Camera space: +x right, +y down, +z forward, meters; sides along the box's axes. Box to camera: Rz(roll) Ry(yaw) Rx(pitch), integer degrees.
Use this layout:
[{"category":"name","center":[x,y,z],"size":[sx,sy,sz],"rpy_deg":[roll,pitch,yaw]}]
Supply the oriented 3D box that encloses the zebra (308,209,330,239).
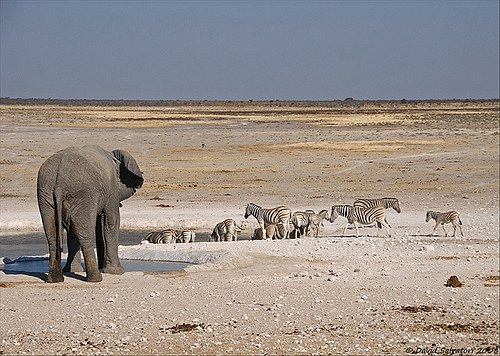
[{"category":"zebra","center":[2.208,1.511,29.589],"size":[0.625,0.821,0.958],"rpy_deg":[12,18,42]}]

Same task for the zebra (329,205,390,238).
[{"category":"zebra","center":[3.859,1.227,27.900],"size":[2.739,1.407,0.697],"rpy_deg":[0,1,18]}]

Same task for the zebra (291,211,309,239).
[{"category":"zebra","center":[1.635,1.514,29.204],"size":[0.536,0.923,0.830],"rpy_deg":[3,14,15]}]

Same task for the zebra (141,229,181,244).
[{"category":"zebra","center":[-2.826,1.865,28.840],"size":[1.150,0.489,0.458],"rpy_deg":[-3,-14,15]}]

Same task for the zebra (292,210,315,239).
[{"category":"zebra","center":[1.737,1.427,29.245],"size":[0.333,0.895,1.414],"rpy_deg":[-6,-7,37]}]

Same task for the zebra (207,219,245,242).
[{"category":"zebra","center":[-0.820,1.769,28.923],"size":[1.508,0.723,0.447],"rpy_deg":[-24,-19,38]}]

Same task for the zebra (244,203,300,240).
[{"category":"zebra","center":[0.795,1.415,29.137],"size":[1.680,1.304,1.544],"rpy_deg":[-2,13,-8]}]

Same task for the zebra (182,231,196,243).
[{"category":"zebra","center":[-1.947,1.888,28.621],"size":[0.393,0.401,0.772],"rpy_deg":[-2,13,-5]}]

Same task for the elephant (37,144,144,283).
[{"category":"elephant","center":[-4.247,0.851,23.437],"size":[2.383,3.277,4.422],"rpy_deg":[-1,1,8]}]

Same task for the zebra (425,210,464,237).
[{"category":"zebra","center":[6.096,1.401,28.374],"size":[1.334,0.757,0.351],"rpy_deg":[-2,-4,42]}]
